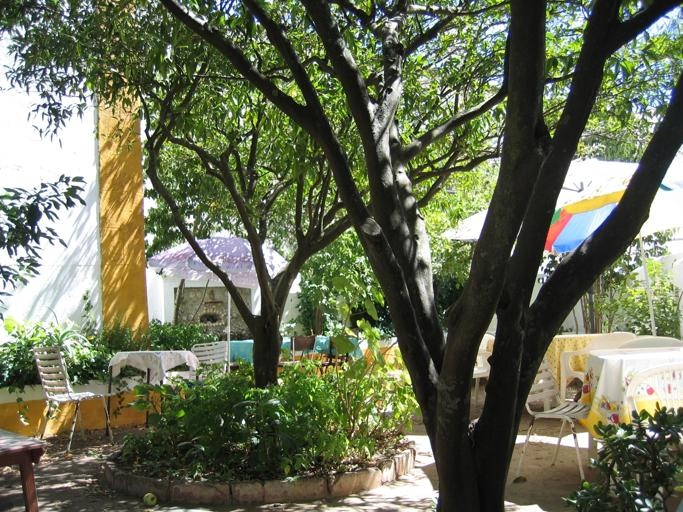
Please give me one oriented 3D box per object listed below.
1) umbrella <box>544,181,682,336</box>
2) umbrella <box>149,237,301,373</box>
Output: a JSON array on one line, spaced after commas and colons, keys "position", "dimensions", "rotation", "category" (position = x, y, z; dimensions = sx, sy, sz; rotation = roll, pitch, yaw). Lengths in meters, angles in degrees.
[{"position": [3.762, -0.094, 7.778], "dimensions": [1.736, 2.052, 1.935], "rotation": [4, 3, 20], "category": "umbrella"}, {"position": [-2.259, 0.490, 10.331], "dimensions": [2.280, 1.843, 2.324], "rotation": [-7, 1, -43], "category": "umbrella"}]
